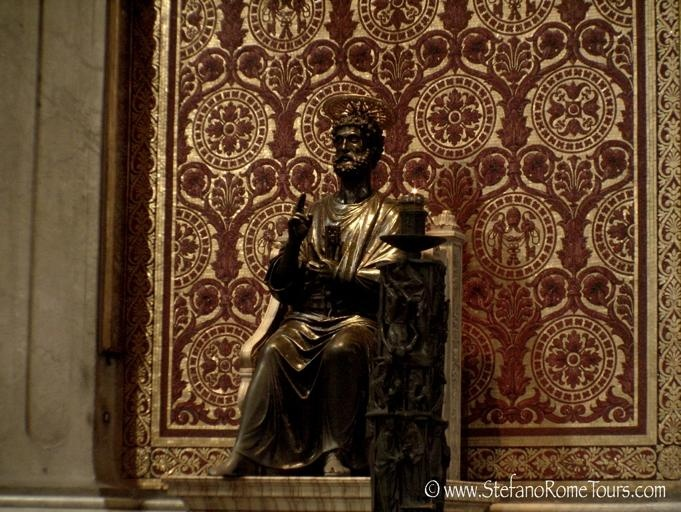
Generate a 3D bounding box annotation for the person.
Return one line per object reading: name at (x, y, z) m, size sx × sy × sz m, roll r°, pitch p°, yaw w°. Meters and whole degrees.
person at (-0.095, 0.151, 8.114) m, size 0.618 × 1.978 × 0.789 m, roll -2°, pitch -11°, yaw 38°
